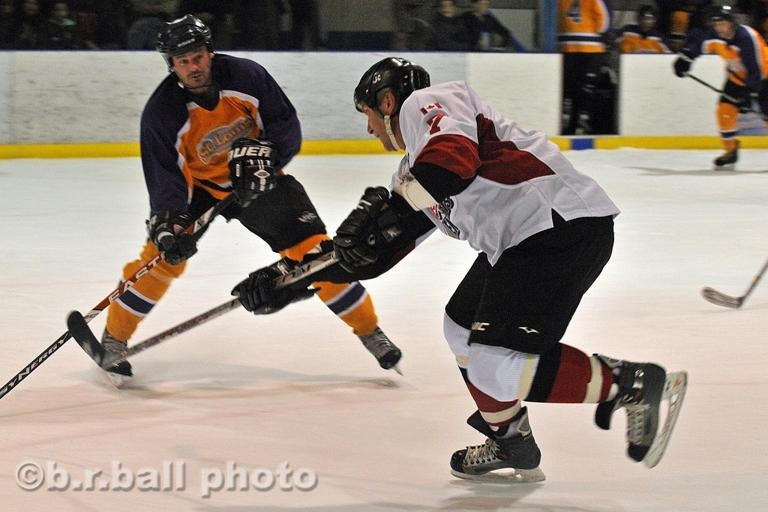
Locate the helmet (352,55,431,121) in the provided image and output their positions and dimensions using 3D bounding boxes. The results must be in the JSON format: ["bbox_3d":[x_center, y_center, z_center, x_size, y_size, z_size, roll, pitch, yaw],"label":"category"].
[{"bbox_3d":[0.023,-0.649,3.264,0.288,0.205,0.225,13,14,20],"label":"helmet"}]

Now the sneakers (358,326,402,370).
[{"bbox_3d":[-0.008,0.420,3.994,0.281,0.085,0.107,35,12,33],"label":"sneakers"}]

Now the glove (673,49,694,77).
[{"bbox_3d":[3.239,-2.049,9.155,0.257,0.281,0.086,9,0,38],"label":"glove"}]

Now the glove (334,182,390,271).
[{"bbox_3d":[-0.077,-0.106,3.057,0.190,0.289,0.130,33,4,31],"label":"glove"}]

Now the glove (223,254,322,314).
[{"bbox_3d":[-0.463,0.136,3.634,0.160,0.260,0.425,51,6,7],"label":"glove"}]

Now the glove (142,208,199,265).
[{"bbox_3d":[-0.946,-0.087,3.878,0.300,0.193,0.153,31,-1,-13],"label":"glove"}]

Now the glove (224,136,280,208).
[{"bbox_3d":[-0.607,-0.391,3.889,0.273,0.267,0.125,3,-4,5],"label":"glove"}]

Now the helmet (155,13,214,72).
[{"bbox_3d":[-0.928,-0.986,3.932,0.293,0.253,0.276,-13,31,-7],"label":"helmet"}]

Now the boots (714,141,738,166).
[{"bbox_3d":[3.341,-0.976,8.308,0.202,0.252,0.176,14,19,30],"label":"boots"}]
